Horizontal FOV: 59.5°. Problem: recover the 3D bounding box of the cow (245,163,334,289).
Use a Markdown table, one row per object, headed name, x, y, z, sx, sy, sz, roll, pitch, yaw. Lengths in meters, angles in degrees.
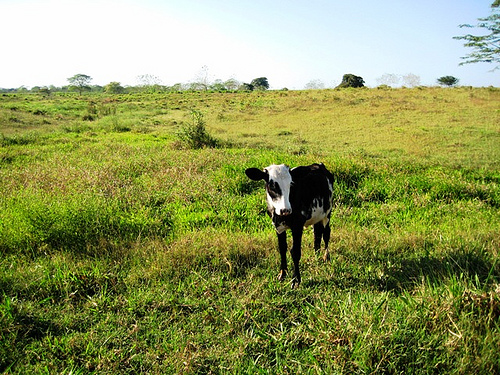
| name | x | y | z | sx | sy | sz | roll | pitch | yaw |
| --- | --- | --- | --- | --- | --- | --- | --- | --- | --- |
| cow | 0.801 | 0.489 | 7.439 | 0.713 | 1.891 | 1.505 | 6 | 13 | 35 |
